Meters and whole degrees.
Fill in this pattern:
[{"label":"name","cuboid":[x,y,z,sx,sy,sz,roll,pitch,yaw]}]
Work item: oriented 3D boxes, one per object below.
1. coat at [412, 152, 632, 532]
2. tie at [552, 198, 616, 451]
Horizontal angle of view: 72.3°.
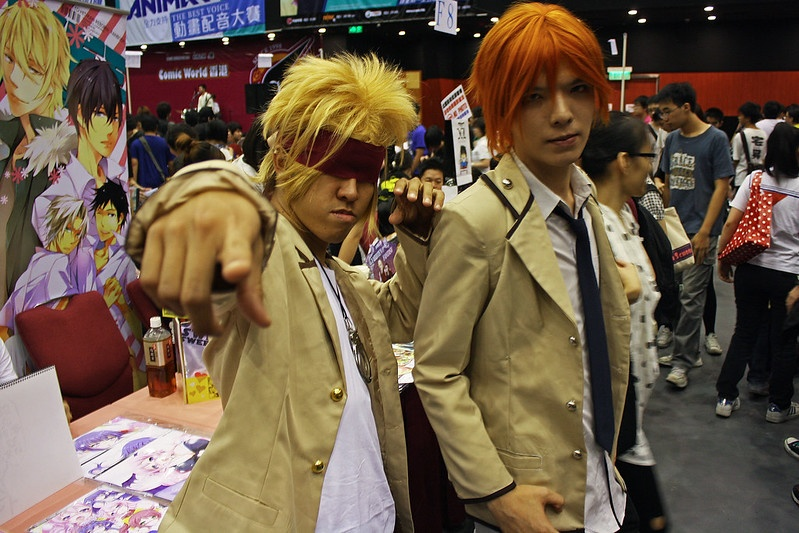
[{"label":"coat","cuboid":[0.322,0.265,1.721,0.460,1.183,0.433,-10,16,-34]},{"label":"tie","cuboid":[0.616,0.253,1.913,0.119,1.243,0.171,-4,-4,11]}]
